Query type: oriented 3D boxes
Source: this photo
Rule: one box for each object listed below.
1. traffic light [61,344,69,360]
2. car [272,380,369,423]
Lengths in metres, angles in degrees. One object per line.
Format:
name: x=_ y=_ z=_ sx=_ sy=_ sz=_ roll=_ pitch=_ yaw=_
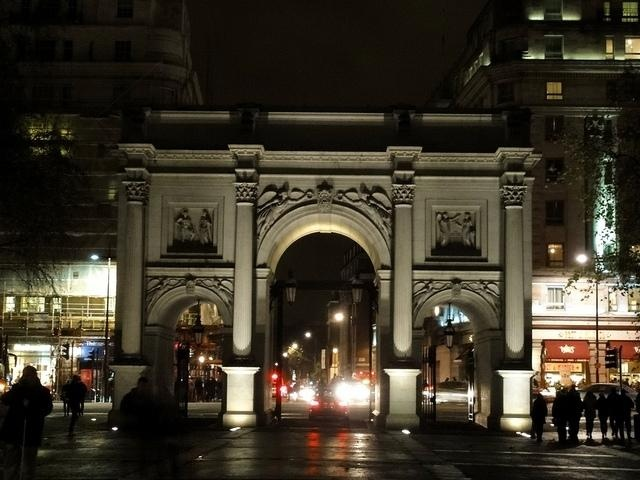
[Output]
traffic light: x=-16.112 y=6.969 z=62.928 sx=0.447 sy=1.014 sz=4.519 roll=2 pitch=-9 yaw=-15
car: x=0.798 y=9.701 z=54.925 sx=3.362 sy=2.414 sz=7.575 roll=0 pitch=-5 yaw=0
